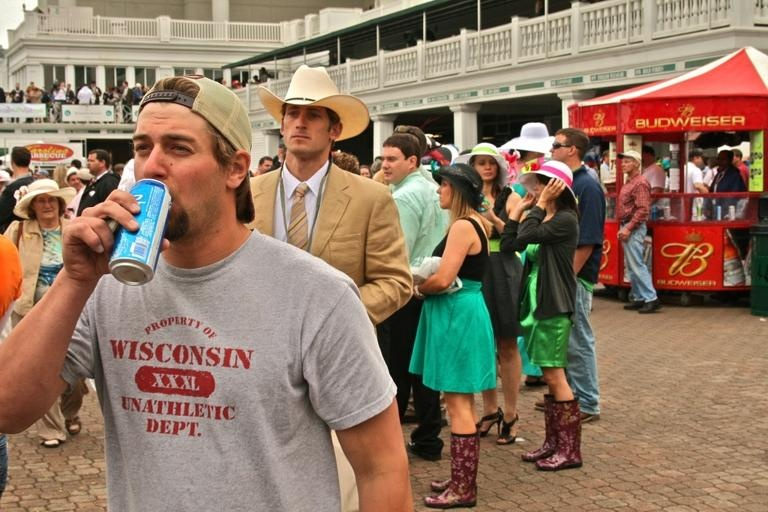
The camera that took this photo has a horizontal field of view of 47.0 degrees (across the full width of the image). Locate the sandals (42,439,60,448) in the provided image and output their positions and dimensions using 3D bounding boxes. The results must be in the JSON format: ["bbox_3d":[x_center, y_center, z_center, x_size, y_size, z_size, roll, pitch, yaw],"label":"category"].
[{"bbox_3d":[-2.949,1.655,7.756,0.174,0.060,0.073,-4,7,-25],"label":"sandals"}]

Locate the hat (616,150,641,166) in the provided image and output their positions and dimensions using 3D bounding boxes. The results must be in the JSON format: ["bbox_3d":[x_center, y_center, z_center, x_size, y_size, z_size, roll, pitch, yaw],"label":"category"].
[{"bbox_3d":[3.918,-1.566,13.934,0.408,0.205,0.249,24,2,-13],"label":"hat"}]

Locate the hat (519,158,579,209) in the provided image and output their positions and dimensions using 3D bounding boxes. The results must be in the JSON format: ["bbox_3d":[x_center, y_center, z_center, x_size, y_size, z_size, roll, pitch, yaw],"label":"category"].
[{"bbox_3d":[1.391,-0.666,7.426,0.413,0.242,0.479,24,-19,-6],"label":"hat"}]

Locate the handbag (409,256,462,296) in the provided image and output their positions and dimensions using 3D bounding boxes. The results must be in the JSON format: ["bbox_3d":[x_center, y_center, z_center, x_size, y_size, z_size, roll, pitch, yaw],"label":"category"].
[{"bbox_3d":[0.385,0.174,6.790,0.322,0.115,0.277,-20,43,10],"label":"handbag"}]

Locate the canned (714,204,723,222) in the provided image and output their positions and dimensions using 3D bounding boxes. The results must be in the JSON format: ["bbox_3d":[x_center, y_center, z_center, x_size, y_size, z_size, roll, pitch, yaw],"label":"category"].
[{"bbox_3d":[5.212,-0.671,13.778,0.108,0.223,0.040,0,9,4],"label":"canned"}]

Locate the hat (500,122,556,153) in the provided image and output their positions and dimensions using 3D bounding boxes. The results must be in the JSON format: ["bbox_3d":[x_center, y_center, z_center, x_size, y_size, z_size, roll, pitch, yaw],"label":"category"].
[{"bbox_3d":[1.917,-1.507,11.500,0.549,0.222,0.656,4,7,9],"label":"hat"}]

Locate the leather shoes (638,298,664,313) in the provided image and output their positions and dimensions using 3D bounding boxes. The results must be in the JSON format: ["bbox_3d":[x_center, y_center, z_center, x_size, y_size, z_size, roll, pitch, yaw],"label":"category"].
[{"bbox_3d":[4.092,0.792,13.725,0.493,0.227,0.171,-11,2,-23],"label":"leather shoes"}]

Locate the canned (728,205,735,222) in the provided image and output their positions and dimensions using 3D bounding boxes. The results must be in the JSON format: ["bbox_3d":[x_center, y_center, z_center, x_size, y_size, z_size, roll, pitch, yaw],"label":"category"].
[{"bbox_3d":[5.410,-0.666,13.783,0.162,0.234,0.054,-3,9,-12],"label":"canned"}]

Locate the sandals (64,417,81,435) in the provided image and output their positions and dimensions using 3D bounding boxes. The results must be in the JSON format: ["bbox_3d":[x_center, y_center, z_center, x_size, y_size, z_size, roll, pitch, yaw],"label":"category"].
[{"bbox_3d":[-2.876,1.574,8.086,0.136,0.150,0.372,-1,-8,-18],"label":"sandals"}]

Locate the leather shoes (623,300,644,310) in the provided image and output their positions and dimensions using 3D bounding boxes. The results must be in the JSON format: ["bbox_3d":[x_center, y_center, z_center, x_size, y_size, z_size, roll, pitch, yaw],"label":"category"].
[{"bbox_3d":[3.938,0.796,13.994,0.310,0.126,0.110,3,2,15],"label":"leather shoes"}]
